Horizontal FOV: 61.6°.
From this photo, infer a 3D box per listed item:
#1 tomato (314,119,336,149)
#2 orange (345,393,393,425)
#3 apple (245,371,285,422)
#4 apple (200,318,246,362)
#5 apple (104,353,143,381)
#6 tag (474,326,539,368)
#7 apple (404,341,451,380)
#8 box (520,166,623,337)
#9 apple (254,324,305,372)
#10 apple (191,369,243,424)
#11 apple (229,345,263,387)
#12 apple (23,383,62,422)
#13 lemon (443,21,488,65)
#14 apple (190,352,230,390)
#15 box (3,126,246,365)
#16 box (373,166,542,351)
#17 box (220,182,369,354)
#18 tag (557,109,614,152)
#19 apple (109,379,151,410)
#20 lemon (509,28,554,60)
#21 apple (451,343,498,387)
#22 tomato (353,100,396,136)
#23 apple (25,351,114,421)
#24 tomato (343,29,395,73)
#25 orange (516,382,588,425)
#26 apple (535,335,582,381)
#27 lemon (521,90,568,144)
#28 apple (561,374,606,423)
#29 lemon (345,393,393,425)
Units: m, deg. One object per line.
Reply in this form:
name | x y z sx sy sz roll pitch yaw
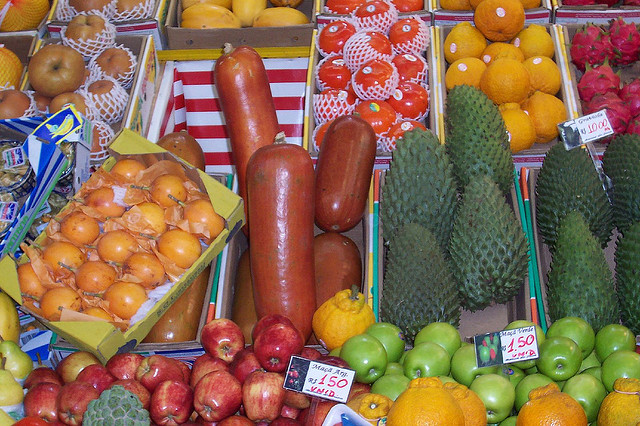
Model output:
tomato | 0.073 -0.647 4.458 0.125 0.212 0.164 39 -11 -35
orange | 0.246 0.905 2.648 0.162 0.147 0.146 12 53 41
apple | -0.266 0.975 2.875 0.201 0.258 0.219 -8 -21 2
apple | -0.552 0.690 3.150 0.211 0.241 0.270 -5 10 -23
apple | -1.085 0.861 2.998 0.145 0.140 0.141 -17 -21 -50
tag | 0.991 0.711 2.845 0.300 0.190 0.015 -7 -11 0
apple | 0.577 0.798 2.932 0.187 0.212 0.200 1 -40 48
box | 1.544 0.218 3.643 0.548 1.344 0.255 -5 -24 11
apple | -0.231 0.732 2.976 0.234 0.323 0.258 7 -3 7
apple | -0.522 0.971 2.798 0.250 0.268 0.109 -4 9 -12
apple | -0.375 0.863 3.037 0.159 0.208 0.166 -9 -34 31
apple | -1.455 0.995 2.868 0.166 0.182 0.184 -6 -37 -7
lemon | 1.344 -1.523 5.034 0.322 0.373 0.419 -25 6 2
apple | -0.604 0.837 2.962 0.155 0.179 0.186 7 24 0
box | -1.188 0.406 3.766 1.065 1.510 0.449 29 -17 19
box | 1.110 0.229 3.755 0.814 1.334 0.404 0 -22 6
box | -0.400 0.490 3.978 0.730 1.146 0.356 2 -27 6
tag | 1.835 -0.556 3.785 0.457 0.260 0.095 -21 2 -10
apple | -0.973 0.942 2.801 0.183 0.200 0.140 -6 10 -21
lemon | 1.926 -1.528 4.883 0.281 0.299 0.294 -9 -40 -37
apple | 0.790 0.824 2.900 0.203 0.223 0.210 10 24 -19
tomato | 0.466 -0.798 4.503 0.344 0.297 0.253 -1 9 4
apple | -1.342 0.917 2.890 0.431 0.221 0.298 -18 -38 33
tomato | 0.442 -1.425 4.759 0.304 0.384 0.333 42 -26 -23
orange | 1.110 0.945 2.621 0.208 0.230 0.226 -2 -33 -15
apple | 1.292 0.790 3.016 0.217 0.252 0.250 4 12 6
lemon | 1.883 -0.819 4.534 0.324 0.436 0.351 -10 -1 -10
apple | 1.333 0.948 2.716 0.143 0.150 0.170 -43 -25 15
lemon | 0.246 0.956 2.671 0.161 0.147 0.143 7 -32 47
